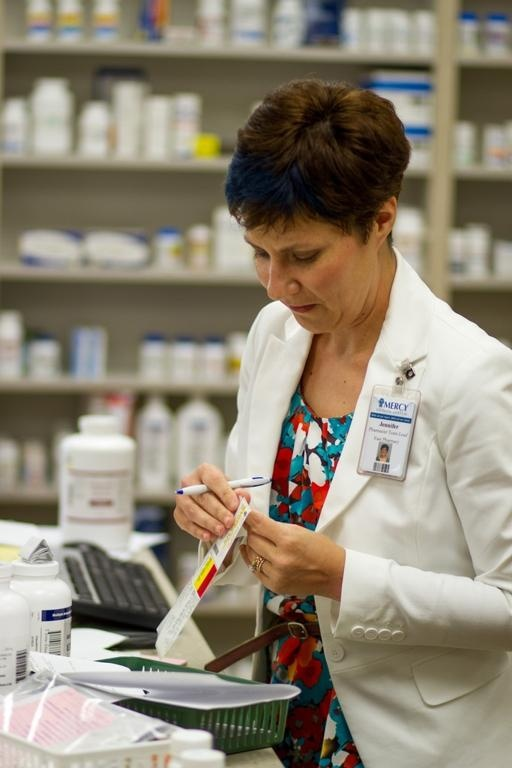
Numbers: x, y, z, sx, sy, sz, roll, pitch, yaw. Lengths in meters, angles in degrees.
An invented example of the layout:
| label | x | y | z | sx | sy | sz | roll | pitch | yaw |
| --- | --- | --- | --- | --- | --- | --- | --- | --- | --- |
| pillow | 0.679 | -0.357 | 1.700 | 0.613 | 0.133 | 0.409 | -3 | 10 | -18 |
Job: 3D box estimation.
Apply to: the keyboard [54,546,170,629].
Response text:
| label | x | y | z | sx | sy | sz | roll | pitch | yaw |
| --- | --- | --- | --- | --- | --- | --- | --- | --- | --- |
| keyboard | -0.261 | 0.375 | 1.547 | 0.099 | 0.027 | 0.287 | 16 | 0 | -14 |

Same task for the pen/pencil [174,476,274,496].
| label | x | y | z | sx | sy | sz | roll | pitch | yaw |
| --- | --- | --- | --- | --- | --- | --- | --- | --- | --- |
| pen/pencil | -0.043 | 0.146 | 1.205 | 0.221 | 0.023 | 0.026 | -6 | -8 | 34 |

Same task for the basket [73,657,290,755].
| label | x | y | z | sx | sy | sz | roll | pitch | yaw |
| --- | --- | --- | --- | --- | --- | --- | --- | --- | --- |
| basket | -0.064 | 0.348 | 0.953 | 0.125 | 0.050 | 0.174 | 4 | -6 | -39 |

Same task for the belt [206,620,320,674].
| label | x | y | z | sx | sy | sz | roll | pitch | yaw |
| --- | --- | --- | --- | --- | --- | --- | --- | --- | --- |
| belt | 0.007 | 0.381 | 1.221 | 0.148 | 0.034 | 0.076 | -20 | 6 | -7 |

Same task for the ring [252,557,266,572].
| label | x | y | z | sx | sy | sz | roll | pitch | yaw |
| --- | --- | --- | --- | --- | --- | --- | --- | --- | --- |
| ring | 0.002 | 0.235 | 1.095 | 0.010 | 0.020 | 0.017 | 20 | 16 | 19 |
